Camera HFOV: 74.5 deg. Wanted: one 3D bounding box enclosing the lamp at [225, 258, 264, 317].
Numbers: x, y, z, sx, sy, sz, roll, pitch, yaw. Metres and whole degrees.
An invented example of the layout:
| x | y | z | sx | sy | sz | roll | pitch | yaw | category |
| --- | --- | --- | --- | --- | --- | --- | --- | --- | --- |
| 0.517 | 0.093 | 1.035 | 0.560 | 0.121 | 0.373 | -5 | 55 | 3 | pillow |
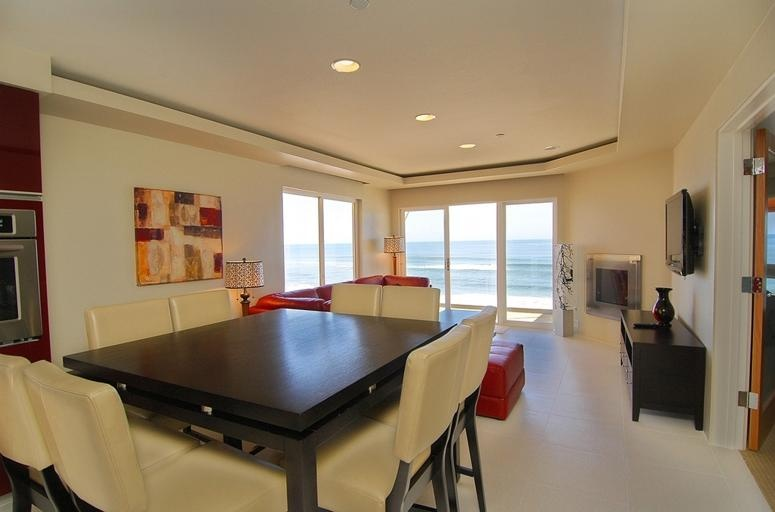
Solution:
| x | y | z | sx | sy | sz | roll | pitch | yaw | category |
| --- | --- | --- | --- | --- | --- | --- | --- | --- | --- |
| -1.724 | 0.438 | 6.096 | 0.436 | 0.706 | 0.435 | -3 | -2 | -21 | lamp |

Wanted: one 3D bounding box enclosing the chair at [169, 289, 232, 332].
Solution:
| x | y | z | sx | sy | sz | roll | pitch | yaw | category |
| --- | --- | --- | --- | --- | --- | --- | --- | --- | --- |
| -1.752 | 0.402 | 4.633 | 0.313 | 0.420 | 0.586 | -7 | 1 | 37 | chair |

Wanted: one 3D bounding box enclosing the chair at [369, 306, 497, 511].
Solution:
| x | y | z | sx | sy | sz | roll | pitch | yaw | category |
| --- | --- | --- | --- | --- | --- | --- | --- | --- | --- |
| 0.361 | 1.041 | 4.211 | 1.179 | 1.934 | 1.054 | -1 | 1 | 19 | chair |

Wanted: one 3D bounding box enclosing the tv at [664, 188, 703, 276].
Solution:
| x | y | z | sx | sy | sz | roll | pitch | yaw | category |
| --- | --- | --- | --- | --- | --- | --- | --- | --- | --- |
| 3.044 | -0.225 | 5.220 | 0.234 | 0.820 | 1.134 | 1 | -1 | 21 | tv |

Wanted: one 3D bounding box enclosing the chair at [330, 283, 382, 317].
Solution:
| x | y | z | sx | sy | sz | roll | pitch | yaw | category |
| --- | --- | --- | --- | --- | --- | --- | --- | --- | --- |
| -0.323 | 0.416 | 4.948 | 0.335 | 0.489 | 0.360 | 3 | -1 | 27 | chair |

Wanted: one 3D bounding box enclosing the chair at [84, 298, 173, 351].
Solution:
| x | y | z | sx | sy | sz | roll | pitch | yaw | category |
| --- | --- | --- | --- | --- | --- | --- | --- | --- | --- |
| -2.109 | 0.540 | 4.181 | 0.420 | 0.545 | 0.559 | -3 | 2 | 33 | chair |

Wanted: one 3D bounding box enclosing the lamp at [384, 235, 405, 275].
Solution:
| x | y | z | sx | sy | sz | roll | pitch | yaw | category |
| --- | --- | --- | --- | --- | --- | --- | --- | --- | --- |
| 0.127 | -0.018 | 9.437 | 0.390 | 0.751 | 0.661 | -1 | 1 | 2 | lamp |

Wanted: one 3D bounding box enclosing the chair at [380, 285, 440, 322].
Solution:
| x | y | z | sx | sy | sz | roll | pitch | yaw | category |
| --- | --- | --- | --- | --- | --- | --- | --- | --- | --- |
| 0.211 | 0.421 | 4.724 | 0.330 | 0.485 | 0.396 | 1 | -5 | 20 | chair |

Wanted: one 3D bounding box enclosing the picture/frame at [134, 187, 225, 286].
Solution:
| x | y | z | sx | sy | sz | roll | pitch | yaw | category |
| --- | --- | --- | --- | --- | --- | --- | --- | --- | --- |
| -2.386 | -0.220 | 5.708 | 0.081 | 1.250 | 1.140 | -1 | 1 | 37 | picture/frame |

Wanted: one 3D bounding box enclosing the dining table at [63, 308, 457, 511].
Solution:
| x | y | z | sx | sy | sz | roll | pitch | yaw | category |
| --- | --- | --- | --- | --- | --- | --- | --- | --- | --- |
| -0.844 | 0.788 | 3.547 | 1.545 | 1.032 | 1.664 | 0 | 6 | 28 | dining table |

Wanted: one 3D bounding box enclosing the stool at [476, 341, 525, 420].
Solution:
| x | y | z | sx | sy | sz | roll | pitch | yaw | category |
| --- | --- | --- | --- | --- | --- | --- | --- | --- | --- |
| 1.058 | 1.234 | 5.373 | 0.624 | 0.563 | 0.927 | 0 | 9 | 25 | stool |
